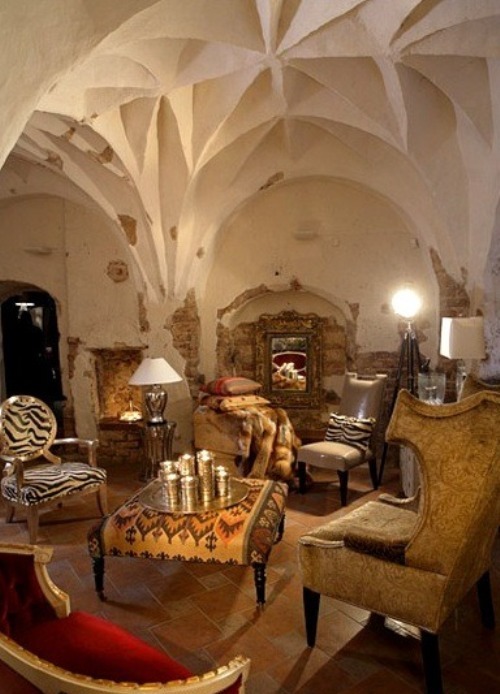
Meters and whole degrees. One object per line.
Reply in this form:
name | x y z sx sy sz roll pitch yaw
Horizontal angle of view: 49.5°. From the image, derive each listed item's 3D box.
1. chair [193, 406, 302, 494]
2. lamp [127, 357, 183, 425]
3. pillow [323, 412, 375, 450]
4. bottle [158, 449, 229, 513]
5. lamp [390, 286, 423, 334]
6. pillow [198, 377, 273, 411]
chair | -0.010 0.974 5.440 0.661 0.299 0.822 -4 15 -39
lamp | -0.900 0.421 5.117 0.502 0.625 0.476 0 -1 -2
pillow | 0.907 0.765 4.931 0.373 0.265 0.111 3 -20 46
bottle | -0.357 0.828 3.320 0.319 0.147 0.325 0 10 0
lamp | 1.682 -0.399 5.871 0.342 0.499 0.387 -1 5 18
pillow | -0.238 0.504 5.784 0.449 0.216 0.443 0 -4 -44
